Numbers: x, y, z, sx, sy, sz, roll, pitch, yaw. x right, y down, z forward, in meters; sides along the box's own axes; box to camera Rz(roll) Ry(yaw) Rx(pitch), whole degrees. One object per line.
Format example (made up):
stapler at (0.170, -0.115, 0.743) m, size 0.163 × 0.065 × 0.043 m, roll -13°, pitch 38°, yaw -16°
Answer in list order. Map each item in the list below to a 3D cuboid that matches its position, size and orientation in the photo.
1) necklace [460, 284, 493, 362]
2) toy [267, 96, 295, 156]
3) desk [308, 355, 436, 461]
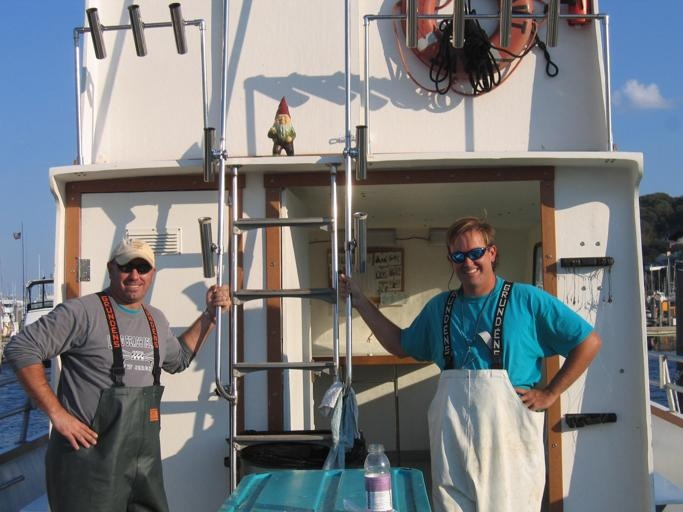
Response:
necklace at (0.975, 0.524, 7.199) m, size 0.217 × 0.549 × 0.457 m, roll 0°, pitch -2°, yaw 8°
toy at (-0.506, -1.109, 8.237) m, size 0.234 × 0.522 × 0.176 m, roll 3°, pitch -5°, yaw -36°
desk at (0.258, 1.432, 9.117) m, size 0.957 × 1.273 × 0.374 m, roll 0°, pitch 2°, yaw -1°
